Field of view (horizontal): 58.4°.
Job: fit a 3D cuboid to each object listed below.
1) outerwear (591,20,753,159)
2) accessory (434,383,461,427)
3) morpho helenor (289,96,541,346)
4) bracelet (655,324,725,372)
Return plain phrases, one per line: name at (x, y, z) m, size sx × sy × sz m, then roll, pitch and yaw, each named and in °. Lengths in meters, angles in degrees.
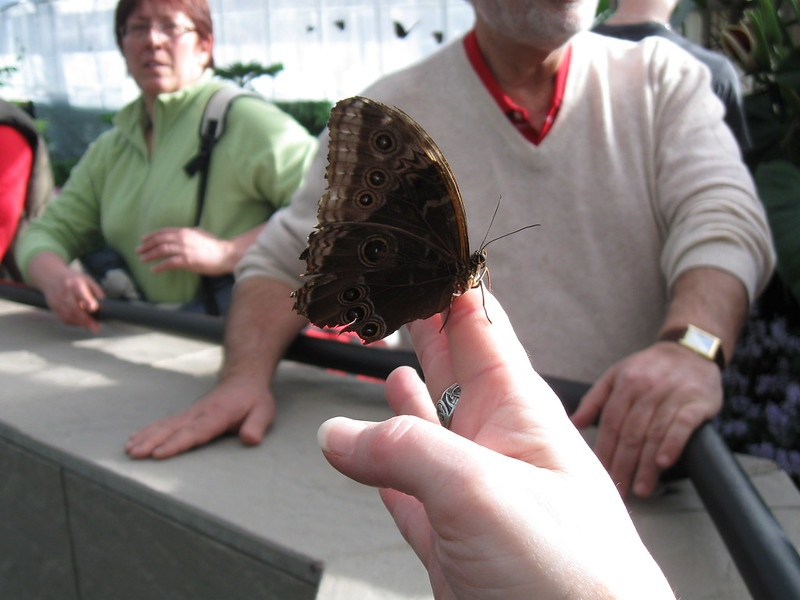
outerwear at (0.593, -0.452, 1.572) m, size 0.232 × 0.339 × 0.169 m, roll -23°, pitch 13°, yaw 42°
accessory at (0.073, 0.158, 1.067) m, size 0.016 × 0.058 × 0.039 m, roll 20°, pitch -32°, yaw -18°
morpho helenor at (0.024, -0.051, 1.243) m, size 0.317 × 0.331 × 0.395 m, roll -16°, pitch -20°, yaw 21°
bracelet at (0.531, 0.080, 1.330) m, size 0.099 × 0.079 × 0.115 m, roll 19°, pitch -11°, yaw 2°
